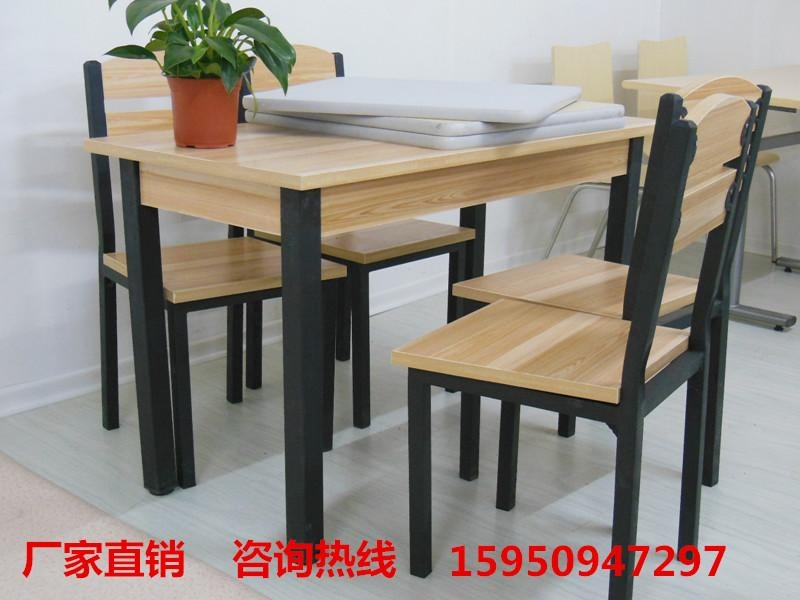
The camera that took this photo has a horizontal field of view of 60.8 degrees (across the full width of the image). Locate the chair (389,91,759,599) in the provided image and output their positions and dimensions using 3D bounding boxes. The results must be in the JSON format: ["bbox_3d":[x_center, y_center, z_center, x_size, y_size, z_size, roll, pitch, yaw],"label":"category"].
[{"bbox_3d":[0.349,0.059,1.307,0.520,0.888,0.641,9,25,25],"label":"chair"}]

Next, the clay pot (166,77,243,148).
[{"bbox_3d":[-0.425,-0.381,1.375,0.159,0.120,0.166,3,16,-1],"label":"clay pot"}]
